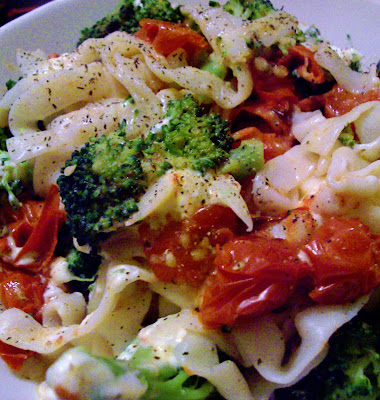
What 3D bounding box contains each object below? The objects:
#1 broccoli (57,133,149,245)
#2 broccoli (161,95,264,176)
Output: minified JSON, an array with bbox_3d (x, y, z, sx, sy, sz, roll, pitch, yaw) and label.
[{"bbox_3d":[-0.276,-0.036,1.799,0.398,0.121,0.407,1,75,44],"label":"broccoli"},{"bbox_3d":[0.081,-0.236,1.808,0.453,0.115,0.261,22,71,-12],"label":"broccoli"}]
